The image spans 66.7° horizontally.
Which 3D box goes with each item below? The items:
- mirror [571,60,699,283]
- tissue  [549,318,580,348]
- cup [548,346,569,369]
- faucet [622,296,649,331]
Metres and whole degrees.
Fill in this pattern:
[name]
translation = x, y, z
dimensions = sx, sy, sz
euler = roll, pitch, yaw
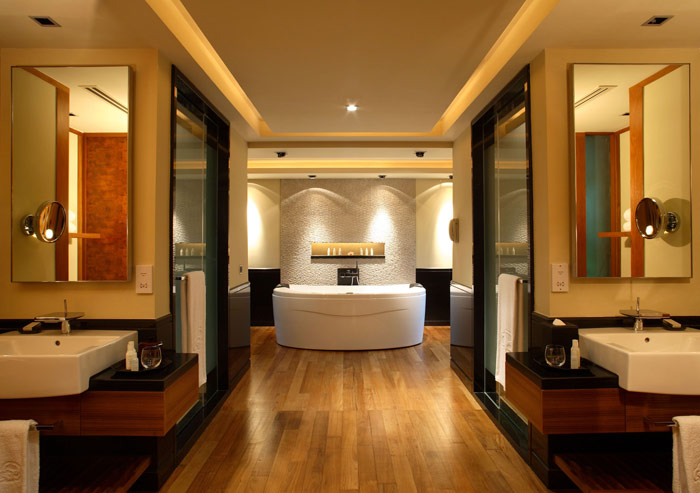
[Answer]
[mirror]
translation = 1.897, -0.504, 3.525
dimensions = 0.816, 1.416, 0.188
euler = 0, 7, -1
[tissue ]
translation = 1.372, 0.553, 3.387
dimensions = 0.164, 0.165, 0.159
euler = 1, 2, 12
[cup]
translation = 1.272, 0.675, 3.222
dimensions = 0.116, 0.138, 0.118
euler = 2, 1, 0
[faucet]
translation = 1.880, 0.443, 3.486
dimensions = 0.178, 0.199, 0.201
euler = -1, 0, 20
